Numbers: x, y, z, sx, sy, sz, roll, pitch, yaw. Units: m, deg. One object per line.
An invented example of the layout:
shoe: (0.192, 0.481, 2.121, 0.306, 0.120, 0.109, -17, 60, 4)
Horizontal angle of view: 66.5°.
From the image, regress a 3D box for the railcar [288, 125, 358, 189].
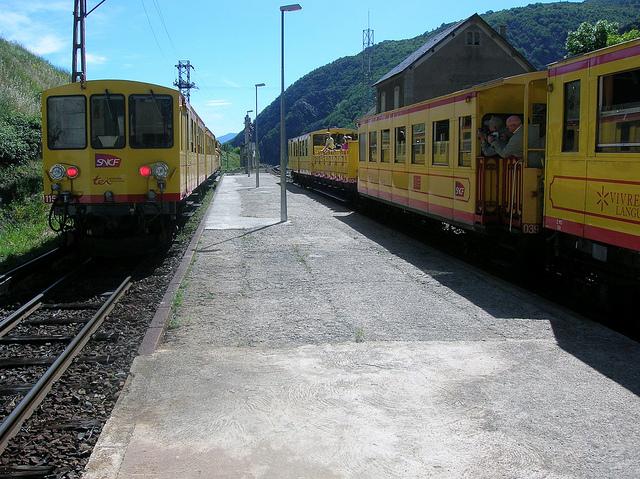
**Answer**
railcar: (-0.283, -6.434, 36.760, 2.324, 2.774, 10.280, -2, 8, -10)

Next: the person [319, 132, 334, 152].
person: (0.238, -6.000, 29.217, 1.178, 1.566, 1.075, 1, 4, 3)

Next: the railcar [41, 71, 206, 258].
railcar: (-5.454, -2.499, 16.345, 3.416, 4.299, 11.357, -1, 9, -9)
